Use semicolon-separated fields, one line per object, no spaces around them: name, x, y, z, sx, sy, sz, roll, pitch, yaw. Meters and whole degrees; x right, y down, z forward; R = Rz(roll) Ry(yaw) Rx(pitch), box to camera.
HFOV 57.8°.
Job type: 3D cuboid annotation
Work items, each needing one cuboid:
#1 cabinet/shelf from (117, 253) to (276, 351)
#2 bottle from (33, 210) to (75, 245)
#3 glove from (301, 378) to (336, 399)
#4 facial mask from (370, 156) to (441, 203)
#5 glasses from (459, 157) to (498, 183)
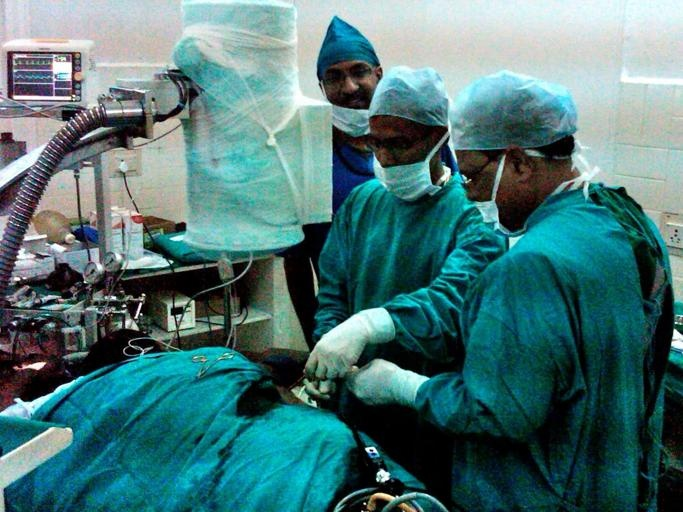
cabinet/shelf;-0.784;0.234;3.275;0.537;0.356;0.272;-9;21;-29
bottle;-1.493;-0.144;3.207;0.176;0.177;0.170;-4;6;-25
glove;-0.063;0.379;1.798;0.062;0.031;0.079;6;3;-14
facial mask;0.208;-0.271;1.974;0.145;0.119;0.145;-20;25;-20
glasses;0.343;-0.220;1.562;0.077;0.060;0.020;-30;9;43
